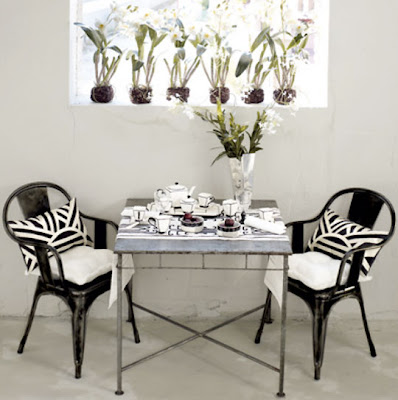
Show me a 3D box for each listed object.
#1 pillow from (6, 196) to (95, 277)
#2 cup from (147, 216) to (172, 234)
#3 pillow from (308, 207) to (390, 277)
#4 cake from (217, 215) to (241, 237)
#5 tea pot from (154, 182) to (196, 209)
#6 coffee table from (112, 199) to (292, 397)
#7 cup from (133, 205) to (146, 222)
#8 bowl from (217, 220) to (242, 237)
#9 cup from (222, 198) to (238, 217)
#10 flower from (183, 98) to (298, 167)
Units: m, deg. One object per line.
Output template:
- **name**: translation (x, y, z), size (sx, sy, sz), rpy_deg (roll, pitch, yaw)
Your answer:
- **pillow**: translation (-0.875, 0.197, 2.658), size (0.137, 0.317, 0.400), rpy_deg (-5, 14, 44)
- **cup**: translation (-0.211, 0.121, 2.321), size (0.096, 0.099, 0.090), rpy_deg (0, 6, 0)
- **pillow**: translation (0.904, 0.231, 2.723), size (0.133, 0.355, 0.456), rpy_deg (20, 8, -35)
- **cake**: translation (0.151, 0.136, 2.270), size (0.090, 0.066, 0.098), rpy_deg (0, 13, -1)
- **tea pot**: translation (-0.137, -0.034, 2.597), size (0.212, 0.130, 0.132), rpy_deg (-1, 12, -12)
- **coffee table**: translation (0.015, 0.365, 2.564), size (0.828, 0.847, 1.032), rpy_deg (0, 12, 2)
- **cup**: translation (-0.327, 0.077, 2.454), size (0.079, 0.090, 0.069), rpy_deg (1, -2, -3)
- **bowl**: translation (0.153, 0.148, 2.270), size (0.086, 0.064, 0.093), rpy_deg (0, 11, 0)
- **cup**: translation (0.178, 0.049, 2.526), size (0.077, 0.112, 0.090), rpy_deg (0, 2, -3)
- **flower**: translation (0.195, -0.400, 2.699), size (0.589, 0.405, 0.511), rpy_deg (6, 9, 12)
